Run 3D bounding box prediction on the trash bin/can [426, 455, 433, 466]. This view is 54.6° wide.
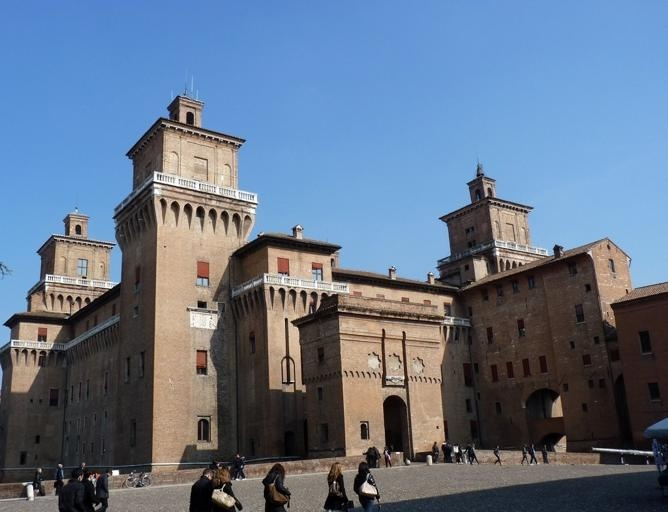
[{"bbox_3d":[6.386,13.745,43.842,0.349,0.632,1.045,-5,-20,4],"label":"trash bin/can"}]

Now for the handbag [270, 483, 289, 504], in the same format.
[{"bbox_3d":[-1.532,6.422,17.544,0.502,0.517,0.244,0,-23,-8],"label":"handbag"}]

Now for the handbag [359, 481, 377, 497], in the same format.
[{"bbox_3d":[1.007,6.999,19.504,0.522,0.538,0.290,15,-31,-23],"label":"handbag"}]

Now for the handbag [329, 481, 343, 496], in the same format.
[{"bbox_3d":[0.047,6.724,18.781,0.413,0.467,0.221,-2,-3,41],"label":"handbag"}]

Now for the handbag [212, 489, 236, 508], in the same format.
[{"bbox_3d":[-2.921,6.308,16.930,0.601,0.502,0.368,0,-20,-10],"label":"handbag"}]
